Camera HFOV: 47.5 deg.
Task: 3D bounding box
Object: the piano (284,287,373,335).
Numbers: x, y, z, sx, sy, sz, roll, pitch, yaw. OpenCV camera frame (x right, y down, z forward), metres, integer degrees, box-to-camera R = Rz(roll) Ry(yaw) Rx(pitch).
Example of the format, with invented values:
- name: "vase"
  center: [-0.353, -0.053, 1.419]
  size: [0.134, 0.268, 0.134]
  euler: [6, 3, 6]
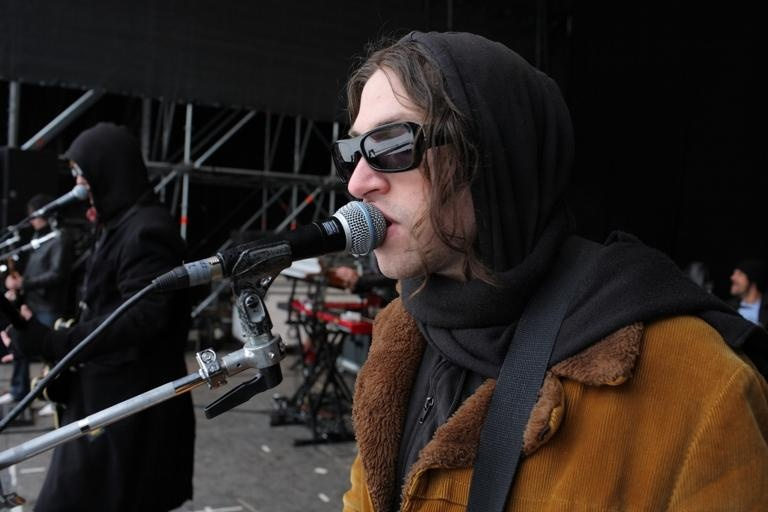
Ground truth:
- name: "piano"
  center: [-0.321, 0.506, 7.214]
  size: [0.739, 0.310, 0.812]
  euler: [-6, 12, -32]
